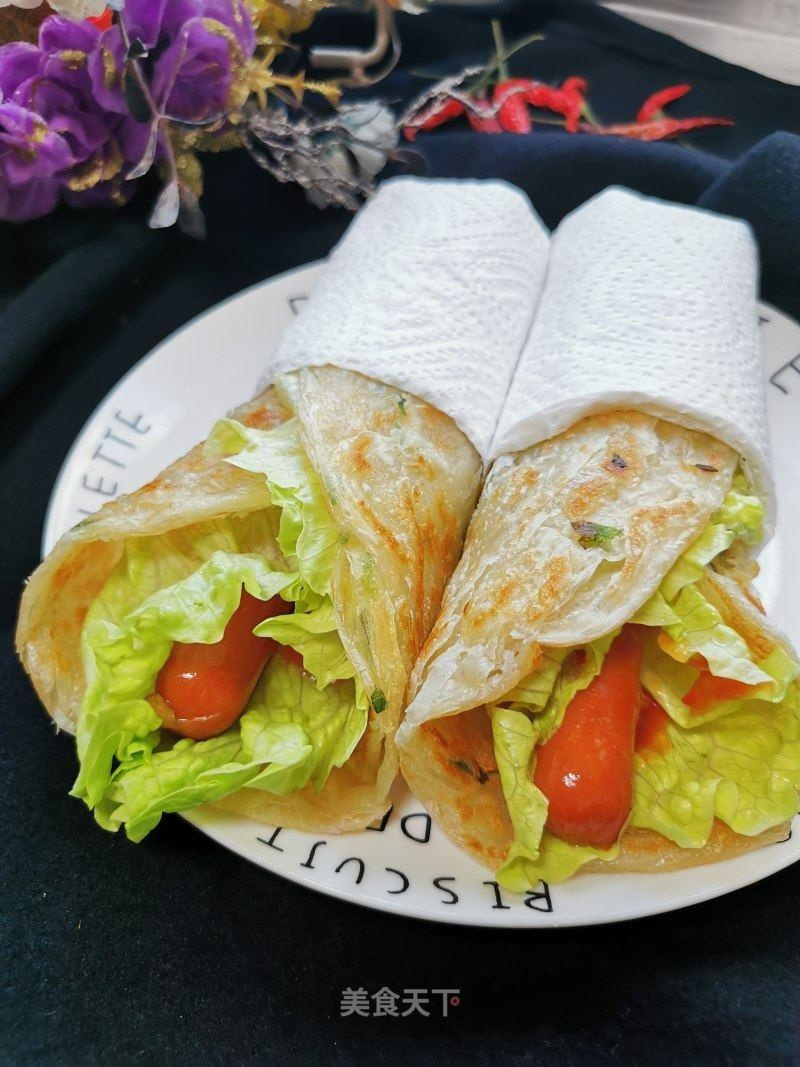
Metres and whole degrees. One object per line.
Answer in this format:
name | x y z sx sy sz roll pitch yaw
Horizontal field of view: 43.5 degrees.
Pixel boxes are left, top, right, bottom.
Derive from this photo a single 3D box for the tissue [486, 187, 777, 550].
tissue | 0.363 -0.307 1.482 0.403 0.218 0.578 5 48 17
